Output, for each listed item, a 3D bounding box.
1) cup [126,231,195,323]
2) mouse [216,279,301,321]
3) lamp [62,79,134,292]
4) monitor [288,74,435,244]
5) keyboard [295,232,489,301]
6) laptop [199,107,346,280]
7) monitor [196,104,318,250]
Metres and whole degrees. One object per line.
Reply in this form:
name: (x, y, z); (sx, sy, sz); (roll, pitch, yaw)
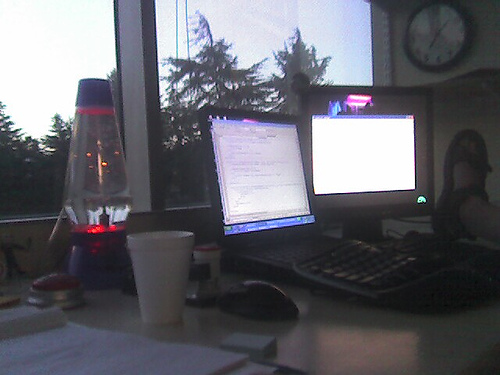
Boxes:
cup: (-0.141, 0.169, 0.767); (0.158, 0.162, 0.148); (-2, -11, 0)
mouse: (0.003, 0.206, 0.759); (0.117, 0.044, 0.074); (-2, 0, 27)
lamp: (-0.385, -0.017, 0.984); (0.170, 0.522, 0.177); (-5, 5, -21)
monitor: (0.382, -0.080, 1.320); (0.619, 0.621, 0.219); (-1, -4, -17)
keyboard: (0.347, 0.169, 0.884); (0.425, 0.066, 0.246); (-5, 5, -28)
laptop: (0.134, -0.007, 1.106); (0.339, 0.431, 0.476); (-1, 2, 37)
monitor: (0.037, -0.045, 1.180); (0.417, 0.397, 0.029); (-3, -9, -41)
